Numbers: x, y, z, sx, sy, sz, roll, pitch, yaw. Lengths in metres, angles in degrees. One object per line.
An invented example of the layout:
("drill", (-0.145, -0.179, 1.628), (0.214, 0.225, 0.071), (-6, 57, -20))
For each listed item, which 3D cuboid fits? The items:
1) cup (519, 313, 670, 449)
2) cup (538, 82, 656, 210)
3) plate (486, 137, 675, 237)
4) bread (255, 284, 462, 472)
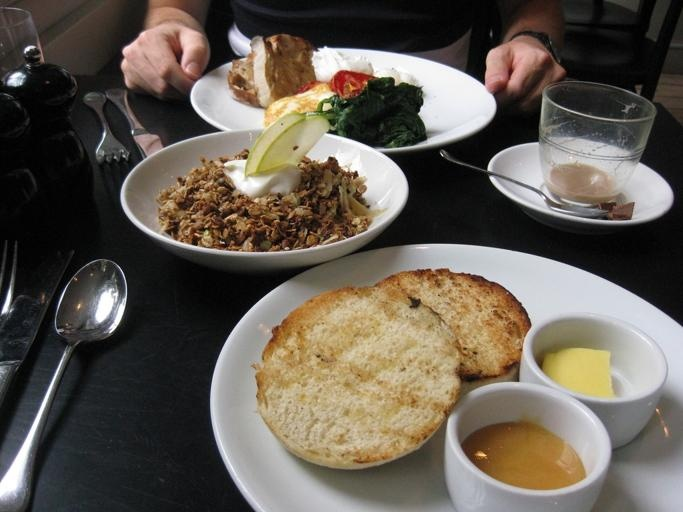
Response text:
("cup", (0.512, 0.237, 1.130), (0.252, 0.176, 0.269), (0, 38, 0))
("cup", (0.762, -0.339, 1.685), (0.292, 0.460, 0.245), (16, 26, 34))
("plate", (0.752, -0.289, 1.664), (0.392, 0.285, 0.566), (-9, 21, -26))
("bread", (0.037, 0.247, 1.154), (0.335, 0.087, 0.336), (-38, 57, -21))
